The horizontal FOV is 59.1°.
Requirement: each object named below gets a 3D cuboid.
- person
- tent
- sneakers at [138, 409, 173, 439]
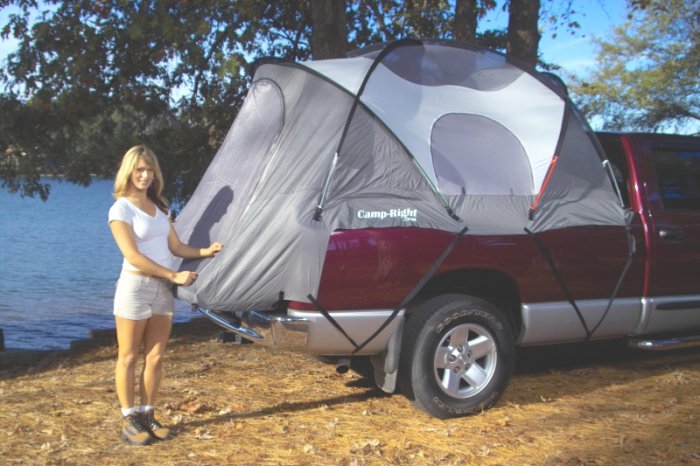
[{"bbox_3d":[-2.077,0.598,6.323,0.924,2.945,0.849,4,12,24],"label":"person"},{"bbox_3d":[0.352,-0.801,7.117,4.239,2.096,2.899,-2,2,-26],"label":"tent"},{"bbox_3d":[-2.072,1.942,6.355,0.492,0.203,0.169,15,18,37],"label":"sneakers"}]
